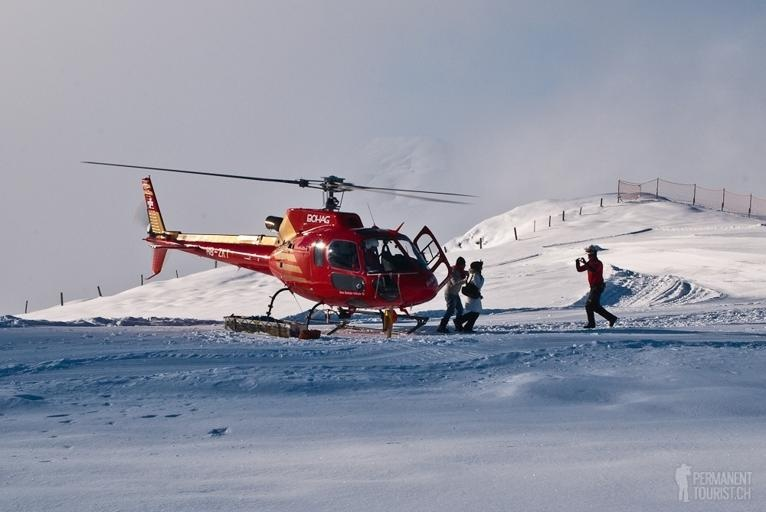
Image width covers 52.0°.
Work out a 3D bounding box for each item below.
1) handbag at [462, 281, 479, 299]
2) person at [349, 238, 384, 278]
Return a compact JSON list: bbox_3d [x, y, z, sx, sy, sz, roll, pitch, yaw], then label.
[{"bbox_3d":[1.846,0.742,16.626,0.425,0.376,0.238,-2,8,-3],"label":"handbag"},{"bbox_3d":[-0.266,0.022,16.506,0.493,0.697,0.486,-2,8,-3],"label":"person"}]
